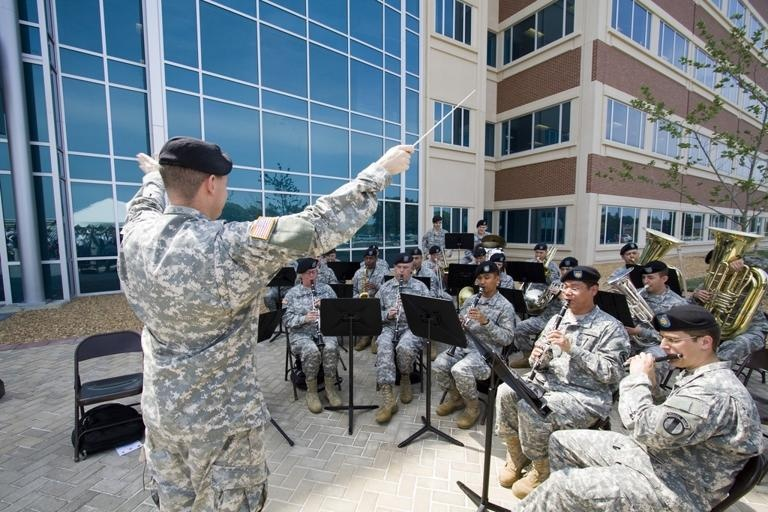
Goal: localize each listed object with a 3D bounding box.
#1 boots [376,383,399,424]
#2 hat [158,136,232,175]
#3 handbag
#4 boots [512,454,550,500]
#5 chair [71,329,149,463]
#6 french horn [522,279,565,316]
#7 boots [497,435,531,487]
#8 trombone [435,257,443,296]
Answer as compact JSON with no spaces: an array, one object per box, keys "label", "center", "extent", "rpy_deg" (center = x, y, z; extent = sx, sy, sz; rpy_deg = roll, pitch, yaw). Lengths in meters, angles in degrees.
[{"label":"boots","center":[0.014,3.025,9.896],"extent":[0.333,0.660,0.695],"rpy_deg":[2,18,28]},{"label":"hat","center":[-2.712,-1.447,7.032],"extent":[0.965,0.573,0.878],"rpy_deg":[2,1,-40]},{"label":"handbag","center":[-5.326,3.316,9.194],"extent":[1.189,0.508,0.983],"rpy_deg":[-13,51,-21]},{"label":"boots","center":[2.653,4.022,8.739],"extent":[0.653,0.946,0.331],"rpy_deg":[-4,10,-15]},{"label":"chair","center":[-5.621,2.683,9.701],"extent":[1.706,2.369,1.536],"rpy_deg":[3,-8,-14]},{"label":"french horn","center":[3.951,0.930,11.866],"extent":[1.027,0.472,0.815],"rpy_deg":[-40,21,29]},{"label":"boots","center":[2.363,3.836,8.897],"extent":[0.746,0.714,0.321],"rpy_deg":[-15,-3,-31]},{"label":"trombone","center":[1.629,0.613,13.737],"extent":[0.262,0.975,0.261],"rpy_deg":[5,-37,4]}]
